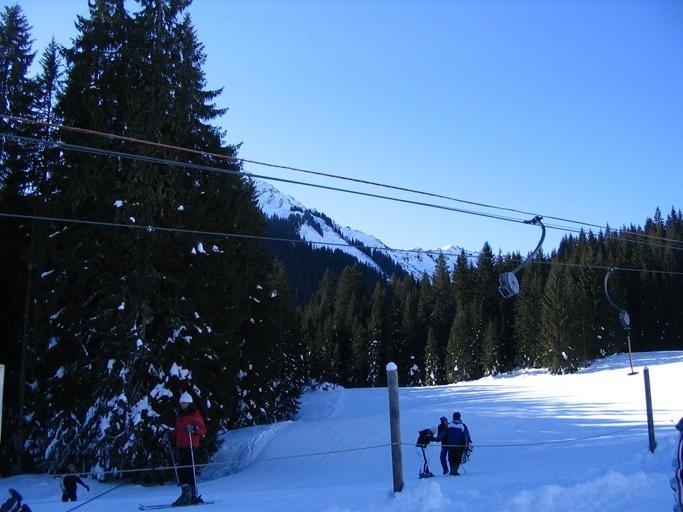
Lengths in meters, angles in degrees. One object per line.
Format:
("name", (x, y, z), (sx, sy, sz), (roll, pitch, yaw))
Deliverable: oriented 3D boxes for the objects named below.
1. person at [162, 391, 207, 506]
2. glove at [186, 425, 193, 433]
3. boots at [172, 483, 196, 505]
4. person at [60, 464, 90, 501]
("person", (-4.755, 5.893, 20.405), (0.884, 3.346, 0.985), (5, -9, -44))
("glove", (-4.669, 5.296, 20.379), (0.209, 0.242, 0.077), (-1, -7, -9))
("boots", (-4.757, 7.297, 20.194), (0.756, 0.785, 0.379), (2, -14, -2))
("person", (-9.271, 7.770, 22.722), (0.652, 1.173, 3.457), (1, -9, -23))
